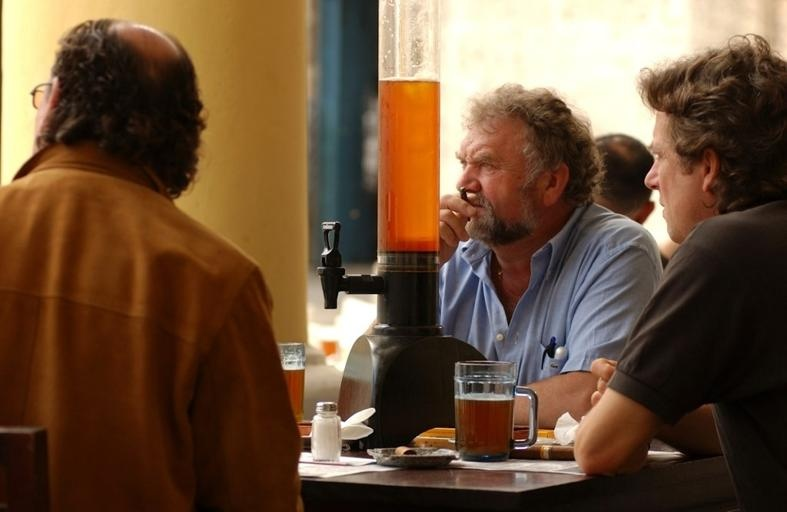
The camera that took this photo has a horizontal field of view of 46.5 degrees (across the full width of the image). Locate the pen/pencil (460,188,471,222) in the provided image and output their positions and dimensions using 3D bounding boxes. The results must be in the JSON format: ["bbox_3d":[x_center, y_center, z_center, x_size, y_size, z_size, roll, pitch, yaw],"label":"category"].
[{"bbox_3d":[0.236,-0.166,3.052,0.021,0.146,0.022,0,-41,-8],"label":"pen/pencil"}]

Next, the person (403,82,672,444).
[{"bbox_3d":[0.391,0.045,3.550,0.967,1.557,0.961,12,-12,-38],"label":"person"}]
